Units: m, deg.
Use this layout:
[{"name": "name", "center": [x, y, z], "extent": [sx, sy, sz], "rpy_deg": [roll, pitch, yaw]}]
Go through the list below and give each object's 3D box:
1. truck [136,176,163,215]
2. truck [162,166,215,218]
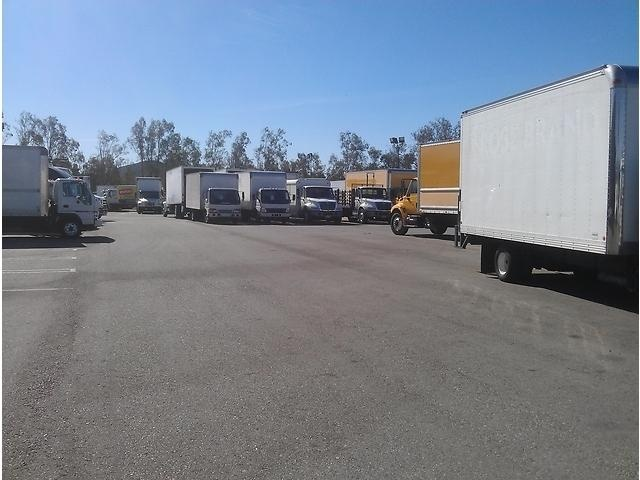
[{"name": "truck", "center": [-20.122, -5.192, 54.503], "extent": [2.659, 4.138, 3.309], "rpy_deg": [-3, 8, -29]}, {"name": "truck", "center": [-12.956, -4.581, 44.149], "extent": [3.441, 4.850, 6.988], "rpy_deg": [-1, 6, -18]}]
